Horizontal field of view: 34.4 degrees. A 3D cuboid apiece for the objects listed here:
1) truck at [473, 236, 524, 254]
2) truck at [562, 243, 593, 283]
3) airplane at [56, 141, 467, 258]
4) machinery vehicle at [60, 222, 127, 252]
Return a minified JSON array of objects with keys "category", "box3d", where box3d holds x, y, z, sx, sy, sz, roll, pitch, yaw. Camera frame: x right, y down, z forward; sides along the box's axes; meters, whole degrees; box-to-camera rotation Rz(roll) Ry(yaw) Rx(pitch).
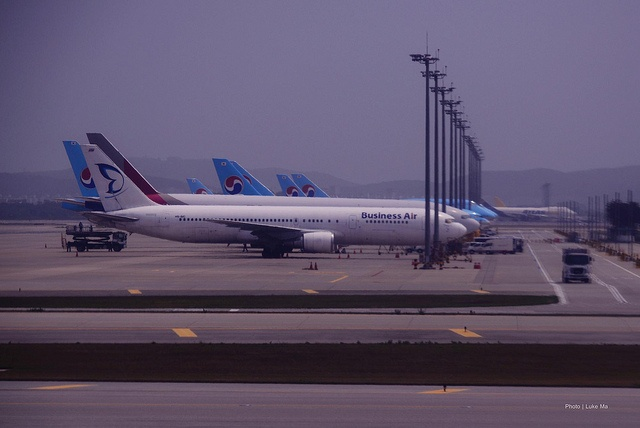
[{"category":"truck","box3d":[17.758,3.158,104.054,5.948,1.665,1.917,1,3,2]},{"category":"truck","box3d":[18.522,3.574,73.226,2.365,2.172,5.060,0,-4,8]},{"category":"airplane","box3d":[-7.323,-1.346,93.632,33.820,9.958,7.064,1,6,13]},{"category":"machinery vehicle","box3d":[-25.047,2.424,104.547,3.846,2.743,8.576,0,-4,-38]}]
